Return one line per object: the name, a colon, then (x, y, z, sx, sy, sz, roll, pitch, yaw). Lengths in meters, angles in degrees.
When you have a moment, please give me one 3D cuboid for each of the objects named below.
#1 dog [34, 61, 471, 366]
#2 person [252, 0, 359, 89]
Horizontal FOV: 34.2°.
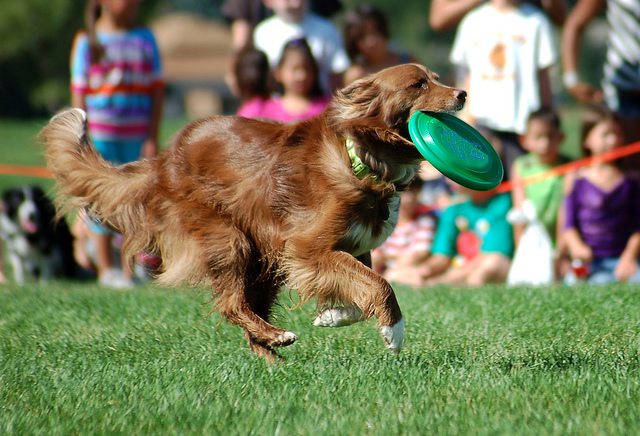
dog: (-0.458, -0.012, 8.870, 3.291, 2.209, 1.327, 2, 32, 7)
person: (-0.184, -1.941, 11.873, 1.507, 0.492, 1.152, -9, 72, -26)
